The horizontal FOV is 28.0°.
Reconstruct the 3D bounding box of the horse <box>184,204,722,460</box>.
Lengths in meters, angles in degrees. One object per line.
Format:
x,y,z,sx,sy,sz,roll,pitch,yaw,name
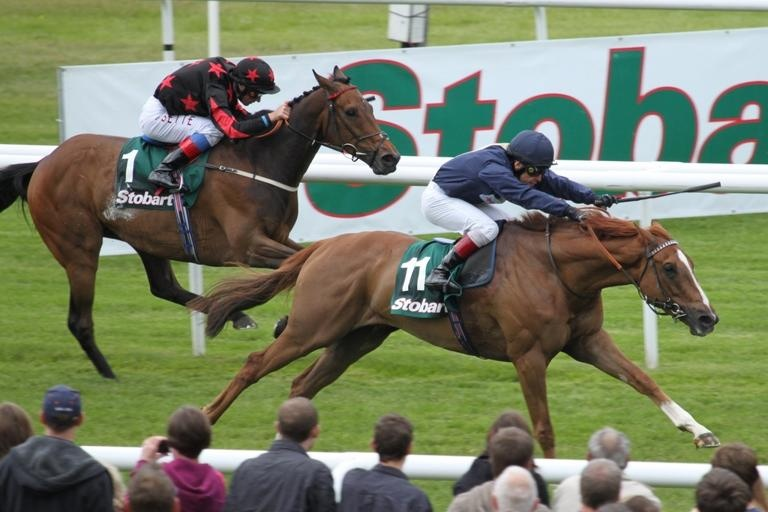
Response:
0.342,0.510,10.361,4.035,1.360,0.865,2,-9,30,horse

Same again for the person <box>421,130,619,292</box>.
0.828,-0.343,10.126,1.238,0.762,0.618,3,13,15,person

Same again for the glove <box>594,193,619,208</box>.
1.482,-0.374,10.218,0.177,0.066,0.201,-2,9,3,glove

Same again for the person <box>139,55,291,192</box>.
-1.342,-0.957,10.939,1.221,0.832,0.670,1,8,-24,person

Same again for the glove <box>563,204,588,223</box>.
1.232,-0.274,9.859,0.155,0.074,0.059,24,-12,3,glove

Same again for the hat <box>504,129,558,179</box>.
0.999,-0.681,10.056,0.282,0.264,0.359,-7,21,-38,hat
